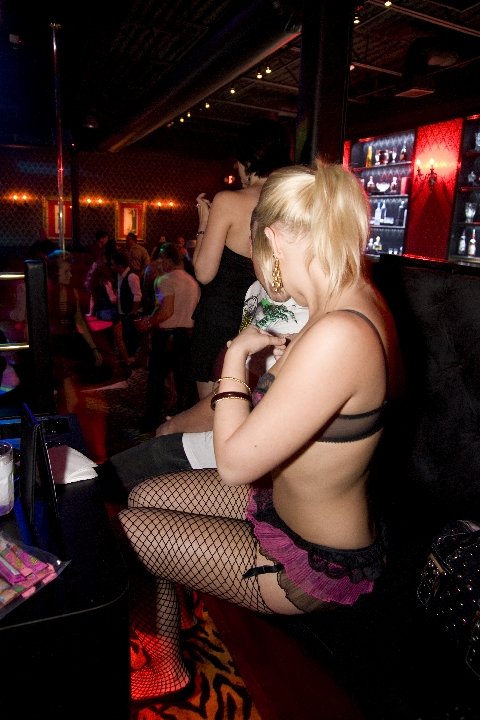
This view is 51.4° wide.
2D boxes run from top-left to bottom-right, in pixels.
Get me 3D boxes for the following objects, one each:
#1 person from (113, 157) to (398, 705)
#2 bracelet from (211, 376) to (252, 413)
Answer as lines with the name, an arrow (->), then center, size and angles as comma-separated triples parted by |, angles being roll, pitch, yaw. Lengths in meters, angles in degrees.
person -> 0.042, 0.272, 1.172 | 0.451, 1.386, 0.603 | -8, 15, -42
bracelet -> -0.011, 0.072, 1.006 | 0.059, 0.038, 0.077 | 13, -20, -24
